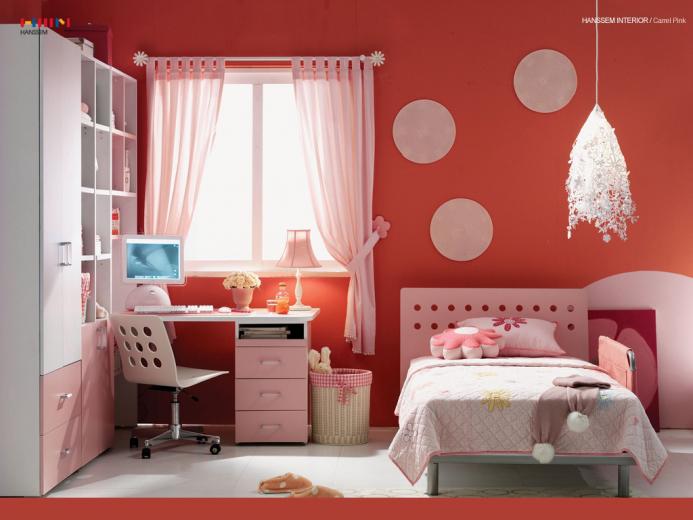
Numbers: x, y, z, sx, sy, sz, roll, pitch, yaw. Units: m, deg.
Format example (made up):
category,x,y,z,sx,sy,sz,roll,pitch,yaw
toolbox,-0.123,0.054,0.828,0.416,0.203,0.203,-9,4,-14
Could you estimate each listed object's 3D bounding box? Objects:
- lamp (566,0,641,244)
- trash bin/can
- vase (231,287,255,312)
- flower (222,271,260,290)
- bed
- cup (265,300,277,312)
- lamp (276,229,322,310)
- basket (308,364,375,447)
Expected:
category,x,y,z,sx,sy,sz,roll,pitch,yaw
lamp,1.861,-1.133,4.222,0.462,2.126,0.985,0,-10,23
trash bin/can,-0.042,1.139,4.545,0.463,0.531,0.486,0,-2,-2
vase,-0.829,0.315,4.576,0.165,0.133,0.168,0,0,-5
flower,-0.827,0.149,4.547,0.192,0.102,0.159,0,1,30
bed,1.189,0.859,3.960,1.205,0.989,1.462,0,3,3
cup,-0.596,0.377,4.600,0.069,0.072,0.083,1,-5,-11
lamp,-0.369,0.076,4.629,0.328,0.651,0.345,3,-9,6
basket,-0.045,1.114,4.442,0.462,0.531,0.488,0,-2,-3
